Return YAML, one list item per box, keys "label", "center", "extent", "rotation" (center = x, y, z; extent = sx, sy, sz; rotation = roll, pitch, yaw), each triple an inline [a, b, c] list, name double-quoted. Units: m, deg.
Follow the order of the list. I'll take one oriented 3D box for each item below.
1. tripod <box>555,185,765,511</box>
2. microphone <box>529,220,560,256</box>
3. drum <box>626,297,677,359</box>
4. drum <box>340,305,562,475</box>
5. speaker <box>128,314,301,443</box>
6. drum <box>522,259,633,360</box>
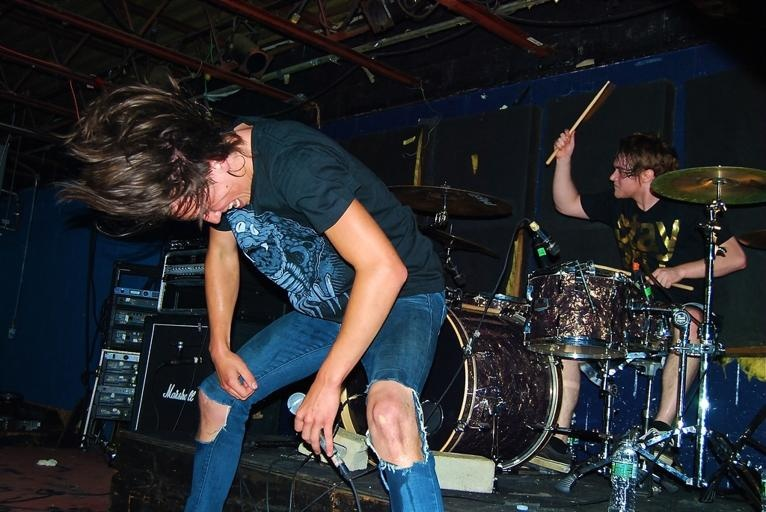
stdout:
- label: "tripod"
  center: [1.890, 0.507, 3.916]
  extent: [1.406, 2.032, 0.554]
  rotation: [9, -10, -24]
- label: "microphone"
  center: [1.088, -0.113, 4.268]
  extent: [0.355, 0.122, 0.103]
  rotation: [48, 5, -26]
- label: "drum"
  center: [1.728, 0.467, 3.961]
  extent: [0.412, 0.367, 0.333]
  rotation: [-3, -4, 17]
- label: "drum"
  center: [0.631, 0.895, 4.300]
  extent: [0.773, 0.962, 0.978]
  rotation: [11, -5, -24]
- label: "speaker"
  center: [-1.594, 1.017, 5.028]
  extent: [1.098, 0.990, 1.066]
  rotation: [3, -5, 20]
- label: "drum"
  center: [1.325, 0.387, 4.103]
  extent: [0.619, 0.465, 0.642]
  rotation: [6, -12, 1]
